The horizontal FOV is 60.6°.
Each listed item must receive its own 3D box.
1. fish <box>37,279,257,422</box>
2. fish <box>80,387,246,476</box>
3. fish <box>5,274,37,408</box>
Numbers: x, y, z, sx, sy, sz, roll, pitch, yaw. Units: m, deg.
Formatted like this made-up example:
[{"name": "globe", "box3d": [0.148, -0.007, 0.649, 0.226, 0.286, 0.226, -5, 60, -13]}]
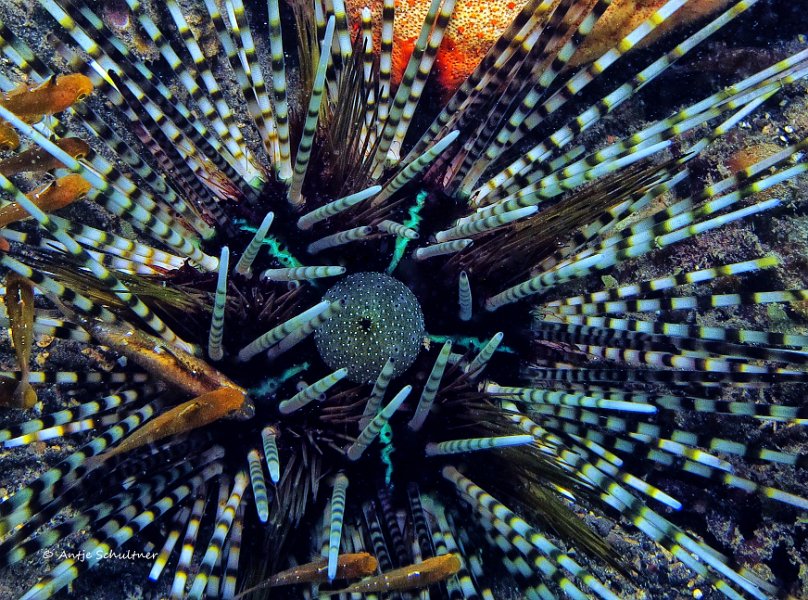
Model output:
[{"name": "fish", "box3d": [-0.840, 0.163, 2.330, 0.530, 0.255, 0.127, 41, 79, -1]}, {"name": "fish", "box3d": [-0.708, 0.396, 2.087, 0.502, 0.181, 0.085, -20, 46, -39]}, {"name": "fish", "box3d": [-1.185, 0.090, 2.146, 0.096, 0.080, 0.479, -2, 86, -25]}]
